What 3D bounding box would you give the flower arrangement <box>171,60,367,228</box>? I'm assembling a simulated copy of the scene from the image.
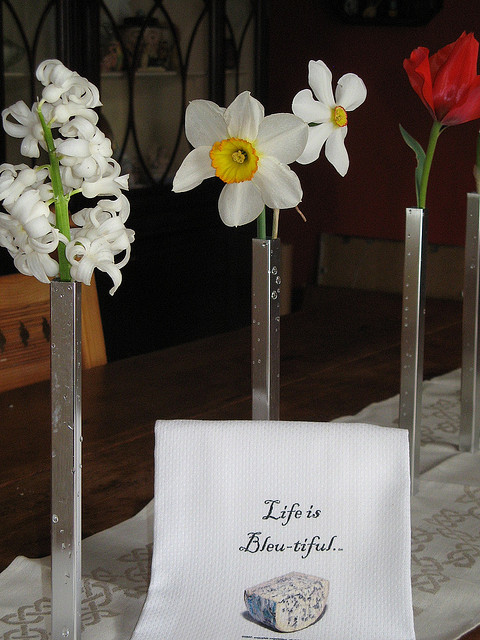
[{"bbox_3d":[0.028,-0.118,0.518,0.151,0.088,0.122,-30,52,-31],"label":"flower arrangement"}]
